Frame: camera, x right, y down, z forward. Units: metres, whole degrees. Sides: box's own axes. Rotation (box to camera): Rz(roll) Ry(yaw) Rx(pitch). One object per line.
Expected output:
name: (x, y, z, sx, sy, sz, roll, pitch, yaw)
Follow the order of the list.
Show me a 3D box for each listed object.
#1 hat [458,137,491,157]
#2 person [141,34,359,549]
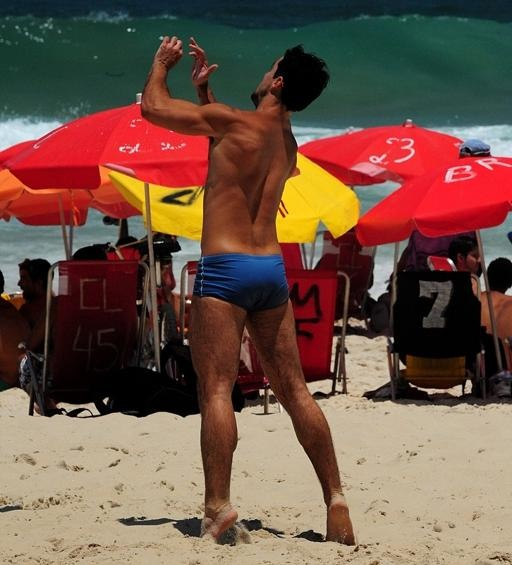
hat: (1.555, -0.953, 6.673, 0.216, 0.129, 0.381, 5, 7, 10)
person: (-0.055, 0.009, 3.670, 0.741, 1.899, 0.773, 0, 11, -25)
